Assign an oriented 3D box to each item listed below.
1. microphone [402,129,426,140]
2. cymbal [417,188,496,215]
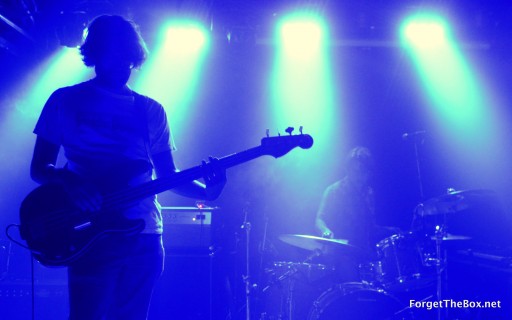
[{"bbox_3d":[3.298,-0.507,10.038,0.488,0.163,0.252,-1,9,-4],"label":"microphone"},{"bbox_3d":[3.681,0.808,9.029,0.787,0.259,0.793,-17,-14,26],"label":"cymbal"}]
